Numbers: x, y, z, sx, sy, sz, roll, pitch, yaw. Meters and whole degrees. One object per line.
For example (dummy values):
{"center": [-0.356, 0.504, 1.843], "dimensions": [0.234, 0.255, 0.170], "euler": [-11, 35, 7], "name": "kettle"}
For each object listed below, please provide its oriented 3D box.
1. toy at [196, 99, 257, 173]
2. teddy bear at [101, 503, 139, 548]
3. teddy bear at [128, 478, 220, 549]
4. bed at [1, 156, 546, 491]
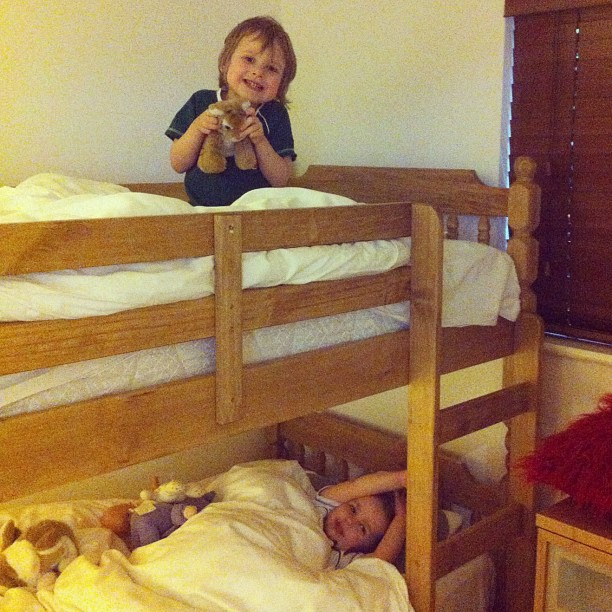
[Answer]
{"center": [-0.225, -0.480, 1.697], "dimensions": [0.176, 0.199, 0.156], "euler": [-17, 39, -35], "name": "toy"}
{"center": [-0.537, 0.618, 1.776], "dimensions": [0.125, 0.045, 0.122], "euler": [8, -2, -16], "name": "teddy bear"}
{"center": [-0.380, 0.549, 1.671], "dimensions": [0.236, 0.097, 0.201], "euler": [-19, 19, -37], "name": "teddy bear"}
{"center": [-0.037, 0.002, 1.519], "dimensions": [1.343, 0.511, 0.749], "euler": [-11, 18, -34], "name": "bed"}
